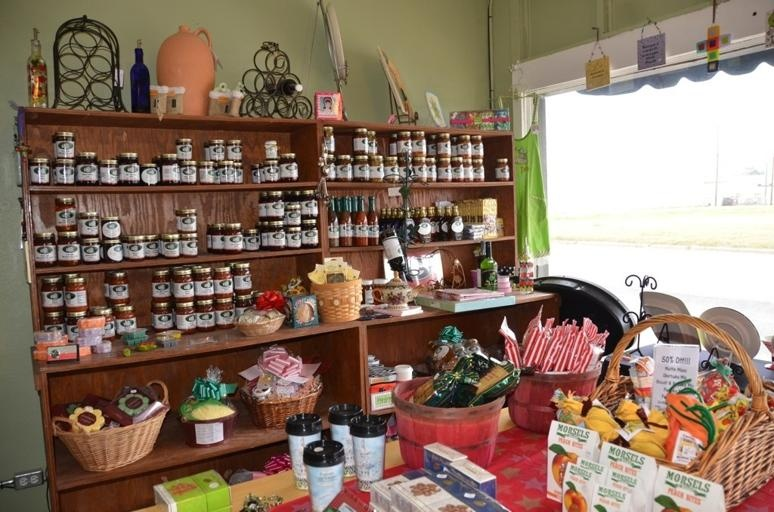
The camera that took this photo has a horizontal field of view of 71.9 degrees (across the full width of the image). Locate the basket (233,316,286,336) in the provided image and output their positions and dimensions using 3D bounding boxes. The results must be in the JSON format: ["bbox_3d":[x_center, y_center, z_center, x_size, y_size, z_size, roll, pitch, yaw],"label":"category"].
[{"bbox_3d":[-0.724,0.389,3.034,0.269,0.106,0.191,-7,6,-22],"label":"basket"}]

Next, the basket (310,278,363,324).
[{"bbox_3d":[-0.302,0.262,3.150,0.299,0.188,0.253,-2,-1,-12],"label":"basket"}]

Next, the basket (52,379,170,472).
[{"bbox_3d":[-1.368,0.835,2.647,0.413,0.230,0.397,-4,5,21],"label":"basket"}]

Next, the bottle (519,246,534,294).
[{"bbox_3d":[0.961,0.093,3.725,0.103,0.307,0.189,-4,6,17],"label":"bottle"}]

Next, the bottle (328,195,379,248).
[{"bbox_3d":[-0.235,-0.209,3.453,0.390,0.330,0.130,-2,-1,-44],"label":"bottle"}]

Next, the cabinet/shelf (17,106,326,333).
[{"bbox_3d":[-1.271,-0.195,3.030,1.492,0.874,0.247,-4,0,-37],"label":"cabinet/shelf"}]

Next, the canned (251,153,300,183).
[{"bbox_3d":[-0.673,-0.527,3.208,0.284,0.169,0.149,-1,2,-11],"label":"canned"}]

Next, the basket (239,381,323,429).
[{"bbox_3d":[-0.580,0.839,2.996,0.438,0.171,0.393,2,-5,-40],"label":"basket"}]

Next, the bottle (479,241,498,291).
[{"bbox_3d":[0.690,0.070,3.674,0.103,0.311,0.135,-7,6,-7],"label":"bottle"}]

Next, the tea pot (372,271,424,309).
[{"bbox_3d":[0.054,0.222,3.489,0.307,0.200,0.201,-2,1,19],"label":"tea pot"}]

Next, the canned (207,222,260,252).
[{"bbox_3d":[-0.918,-0.111,3.120,0.182,0.130,0.240,0,0,-3],"label":"canned"}]
